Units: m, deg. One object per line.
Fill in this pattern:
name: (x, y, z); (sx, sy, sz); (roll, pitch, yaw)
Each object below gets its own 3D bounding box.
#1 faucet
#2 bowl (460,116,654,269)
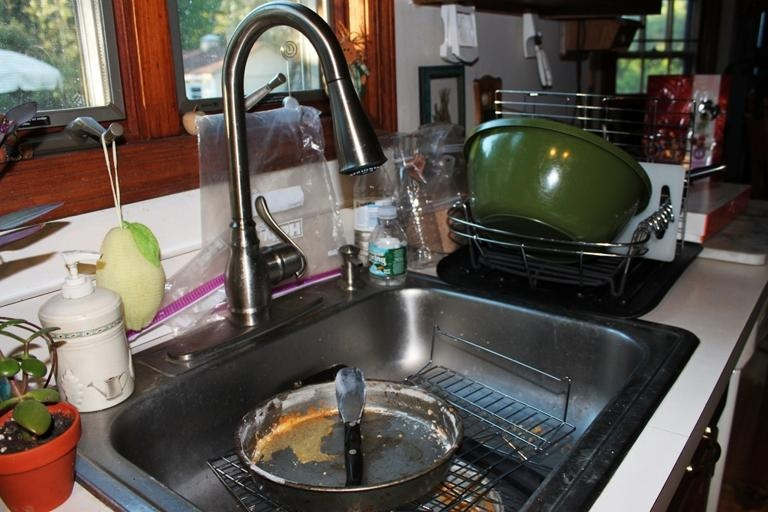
faucet: (-0.157, -0.221, 0.968); (0.131, 0.382, 0.398); (-20, 28, -36)
bowl: (0.355, -0.141, 1.349); (0.432, 0.187, 0.428); (17, -7, 2)
